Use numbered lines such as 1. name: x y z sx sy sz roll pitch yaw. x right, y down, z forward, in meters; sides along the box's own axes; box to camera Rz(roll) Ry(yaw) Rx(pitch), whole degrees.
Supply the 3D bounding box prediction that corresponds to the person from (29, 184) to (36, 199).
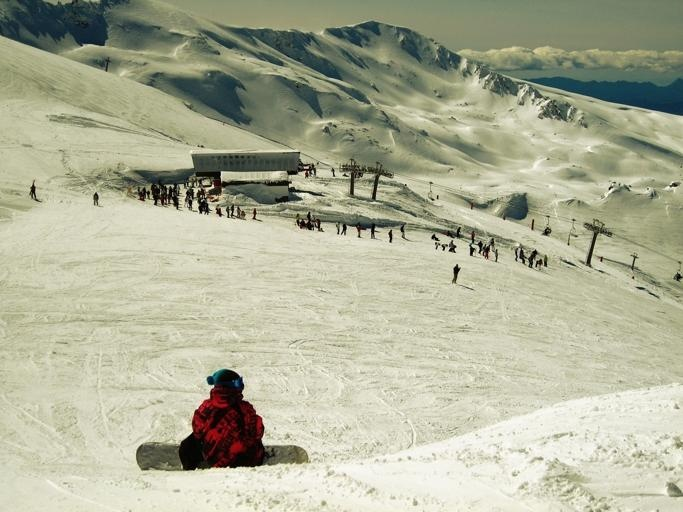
1. person: -29.607 -6.076 83.943 0.557 1.342 1.236 -1 16 -20
